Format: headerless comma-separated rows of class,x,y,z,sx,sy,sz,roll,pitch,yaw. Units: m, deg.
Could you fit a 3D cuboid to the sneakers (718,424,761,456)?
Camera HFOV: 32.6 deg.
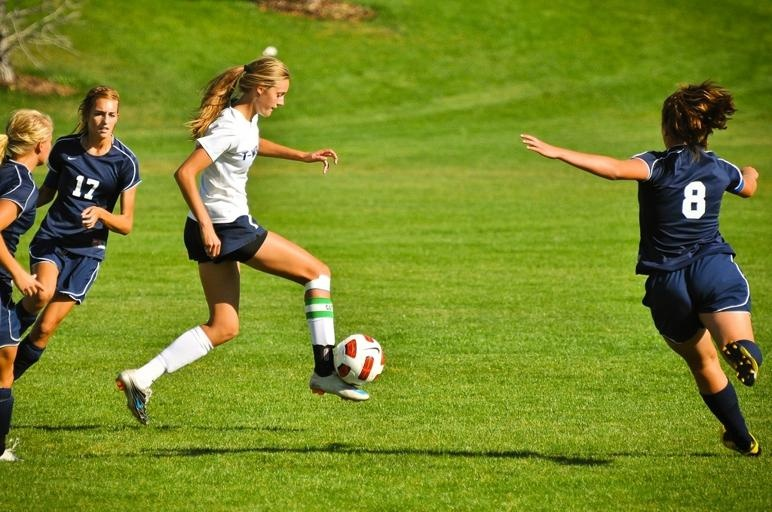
sneakers,4.469,2.331,16.670,0.553,0.244,0.240,28,34,32
